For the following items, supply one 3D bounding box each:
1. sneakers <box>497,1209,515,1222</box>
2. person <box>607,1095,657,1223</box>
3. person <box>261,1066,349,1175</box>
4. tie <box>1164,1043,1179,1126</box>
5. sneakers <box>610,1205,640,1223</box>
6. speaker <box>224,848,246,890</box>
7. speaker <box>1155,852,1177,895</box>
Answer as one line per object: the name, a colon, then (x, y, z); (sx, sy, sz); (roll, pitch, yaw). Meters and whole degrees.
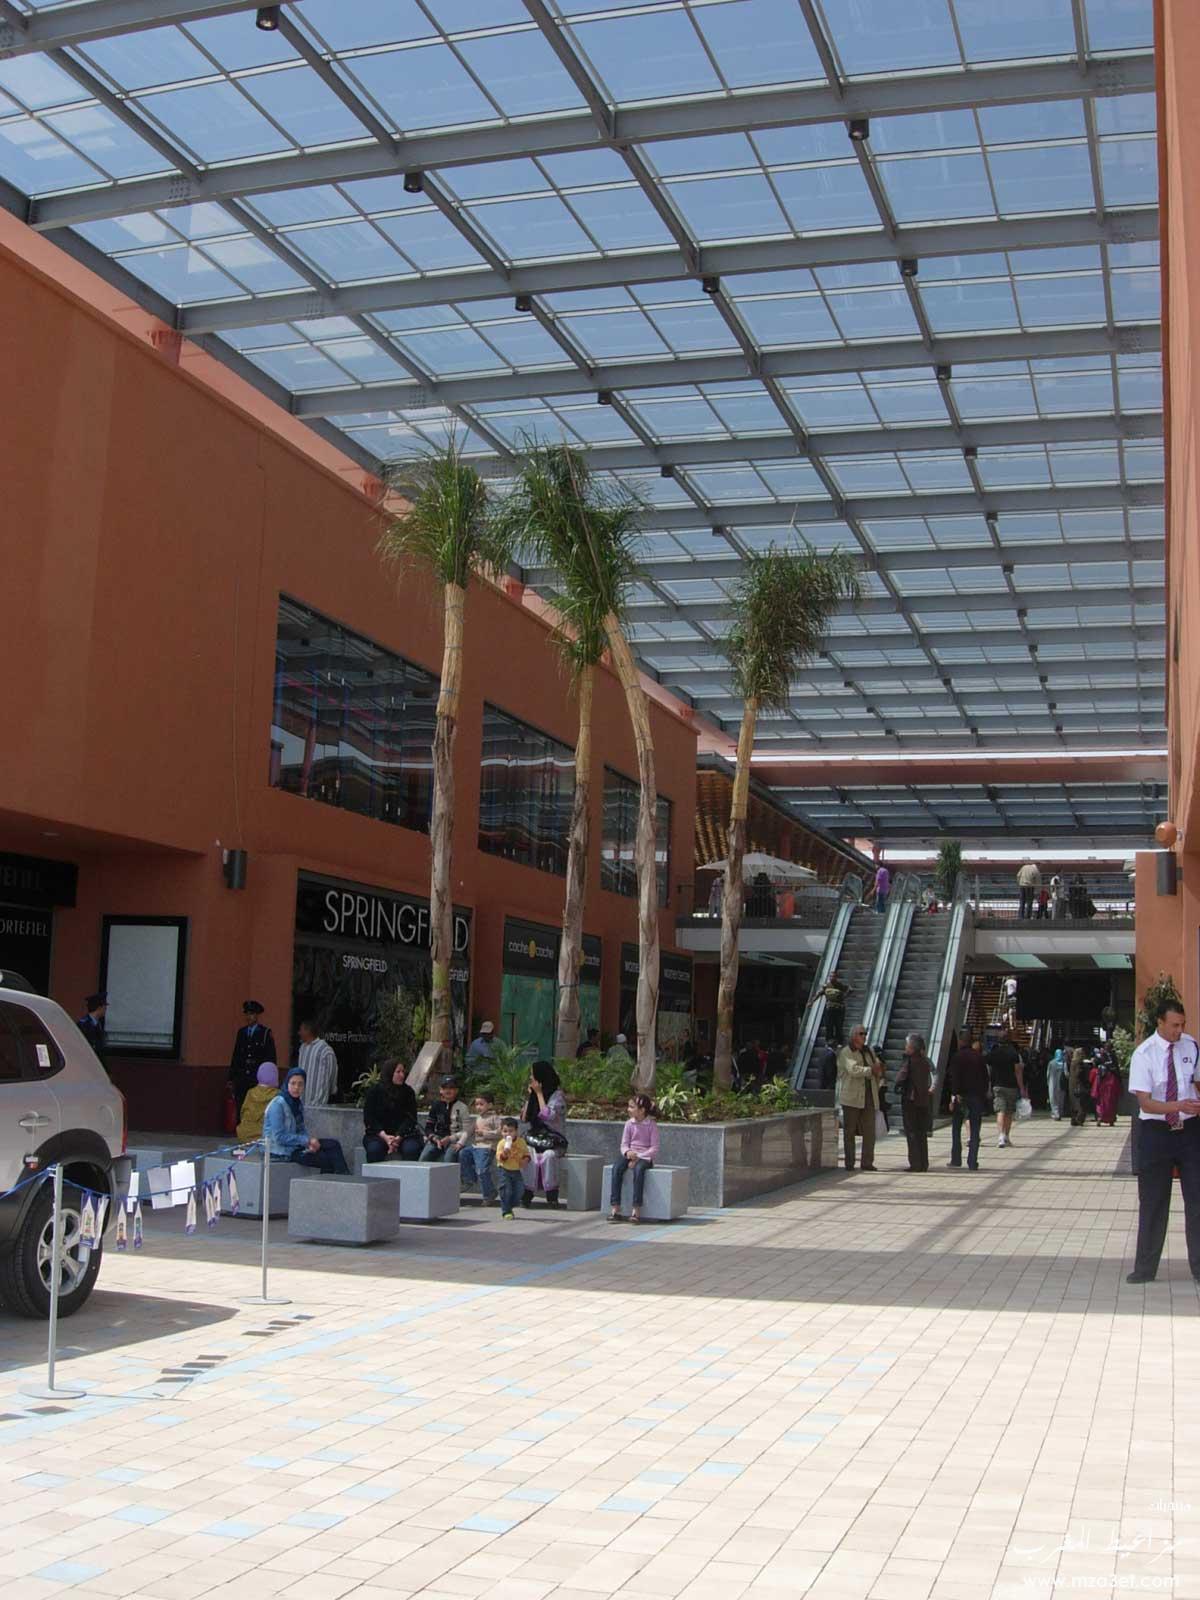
sneakers: (-1.010, 4.313, 11.485); (0.220, 0.169, 0.076); (-10, -15, 35)
person: (0.350, 3.717, 11.455); (0.429, 1.280, 0.558); (7, -10, -20)
person: (-2.928, 3.273, 10.878); (0.756, 1.299, 0.493); (-5, -7, 6)
tie: (4.050, 2.040, 7.851); (0.087, 0.544, 0.102); (0, -10, 18)
sneakers: (0.246, 4.308, 11.446); (0.122, 0.170, 0.360); (-3, -20, 11)
speaker: (-5.641, 1.055, 17.022); (0.255, 0.606, 0.425); (3, -9, 1)
speaker: (9.729, 1.230, 19.098); (0.591, 0.688, 0.247); (9, -11, -31)
